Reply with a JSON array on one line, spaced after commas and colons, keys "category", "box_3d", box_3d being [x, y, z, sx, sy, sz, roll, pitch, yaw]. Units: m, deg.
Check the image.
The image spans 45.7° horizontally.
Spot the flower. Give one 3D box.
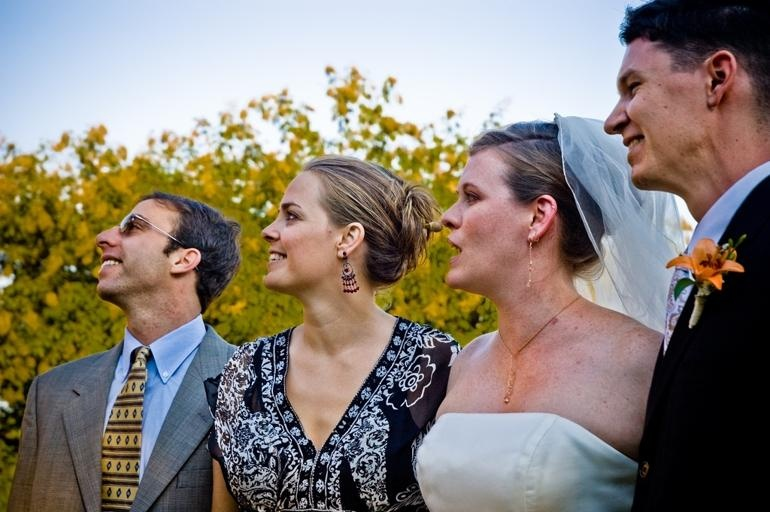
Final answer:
[{"category": "flower", "box_3d": [1.537, 0.121, 4.371, 0.345, 0.410, 0.408, 20, -11, -30]}]

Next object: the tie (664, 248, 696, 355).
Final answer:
[{"category": "tie", "box_3d": [1.470, 0.221, 4.629, 0.083, 0.425, 0.271, 26, 14, 11]}]
